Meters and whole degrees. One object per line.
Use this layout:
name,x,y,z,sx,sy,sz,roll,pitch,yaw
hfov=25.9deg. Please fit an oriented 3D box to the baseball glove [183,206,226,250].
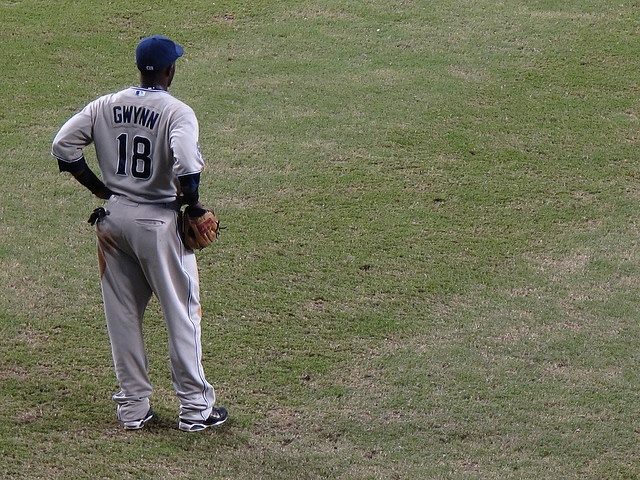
baseball glove,-1.132,-0.143,12.224,0.484,0.198,0.351,8,22,4

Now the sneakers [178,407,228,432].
sneakers,-1.030,1.610,12.287,0.427,0.184,0.180,-19,29,-31

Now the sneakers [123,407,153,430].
sneakers,-1.615,1.572,12.254,0.126,0.115,0.266,14,15,21

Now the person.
person,-1.522,-0.019,12.076,1.240,3.282,1.327,-10,26,-23
